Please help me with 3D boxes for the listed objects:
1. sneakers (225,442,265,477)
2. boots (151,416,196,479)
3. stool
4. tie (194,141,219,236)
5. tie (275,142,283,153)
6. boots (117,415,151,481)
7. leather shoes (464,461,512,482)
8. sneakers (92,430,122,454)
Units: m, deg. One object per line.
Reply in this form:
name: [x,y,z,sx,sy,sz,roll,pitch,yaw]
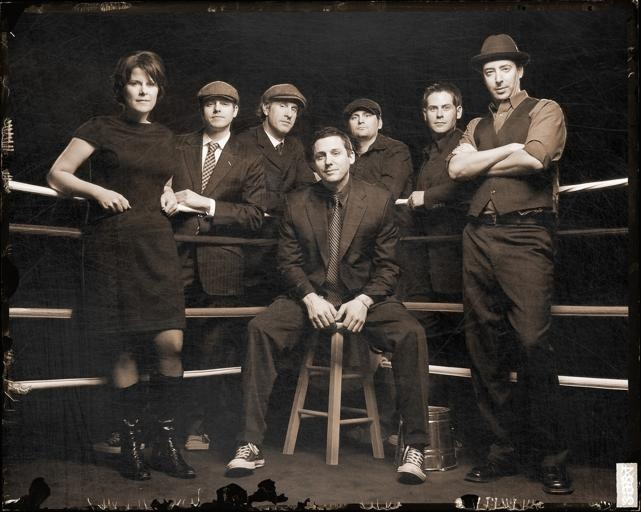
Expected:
sneakers: [-0.346,0.977,3.611,0.118,0.099,0.234,-3,-10,20]
boots: [-0.715,0.932,3.616,0.307,0.205,0.118,16,7,20]
stool: [0.166,0.648,3.607,0.569,0.689,0.540,10,-13,-31]
tie: [-0.539,-0.331,3.688,0.077,0.446,0.069,14,3,8]
tie: [-0.197,-0.531,3.659,0.051,0.042,0.012,-3,-11,7]
boots: [-0.898,0.948,3.620,0.152,0.274,0.329,-1,2,-29]
leather shoes: [0.813,1.033,3.628,0.269,0.085,0.088,-3,5,-5]
sneakers: [-1.017,0.910,3.617,0.193,0.060,0.057,3,-4,8]
